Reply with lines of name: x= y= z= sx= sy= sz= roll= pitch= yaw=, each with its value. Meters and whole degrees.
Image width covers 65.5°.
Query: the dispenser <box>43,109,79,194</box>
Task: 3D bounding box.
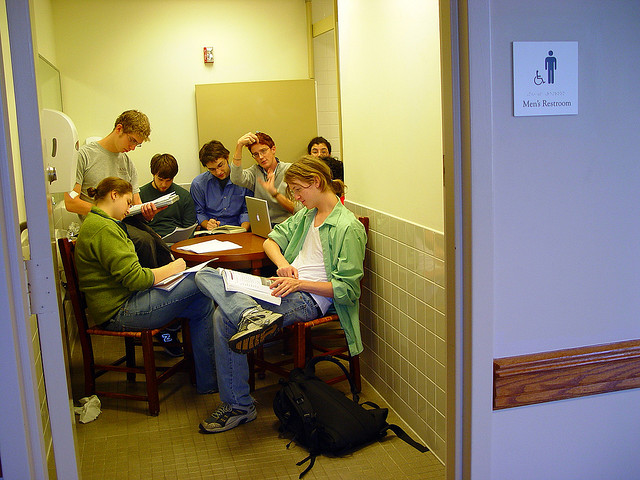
dispenser: x=-1.770 y=-0.598 z=3.419 sx=0.195 sy=0.579 sz=0.416 roll=-7 pitch=13 yaw=-27

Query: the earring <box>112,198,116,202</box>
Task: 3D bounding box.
earring: x=-1.316 y=-0.254 z=3.160 sx=0.021 sy=0.017 sz=0.021 roll=0 pitch=2 yaw=-33

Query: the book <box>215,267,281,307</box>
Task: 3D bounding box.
book: x=-0.432 y=0.281 z=2.987 sx=0.346 sy=0.171 sz=0.315 roll=-5 pitch=13 yaw=-15

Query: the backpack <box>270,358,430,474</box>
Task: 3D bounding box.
backpack: x=0.022 y=0.974 z=2.830 sx=0.554 sy=0.279 sz=0.595 roll=-14 pitch=21 yaw=-31

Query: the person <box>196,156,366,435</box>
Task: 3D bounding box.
person: x=-0.302 y=0.302 z=3.105 sx=0.828 sy=1.685 sz=1.221 roll=8 pitch=9 yaw=38

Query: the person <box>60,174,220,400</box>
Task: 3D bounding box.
person: x=-1.052 y=0.318 z=3.292 sx=1.045 sy=1.457 sz=0.672 roll=1 pitch=11 yaw=12

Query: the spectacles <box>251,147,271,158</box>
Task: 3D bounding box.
spectacles: x=-0.548 y=-0.778 z=4.444 sx=0.188 sy=0.085 sz=0.110 roll=6 pitch=14 yaw=30
